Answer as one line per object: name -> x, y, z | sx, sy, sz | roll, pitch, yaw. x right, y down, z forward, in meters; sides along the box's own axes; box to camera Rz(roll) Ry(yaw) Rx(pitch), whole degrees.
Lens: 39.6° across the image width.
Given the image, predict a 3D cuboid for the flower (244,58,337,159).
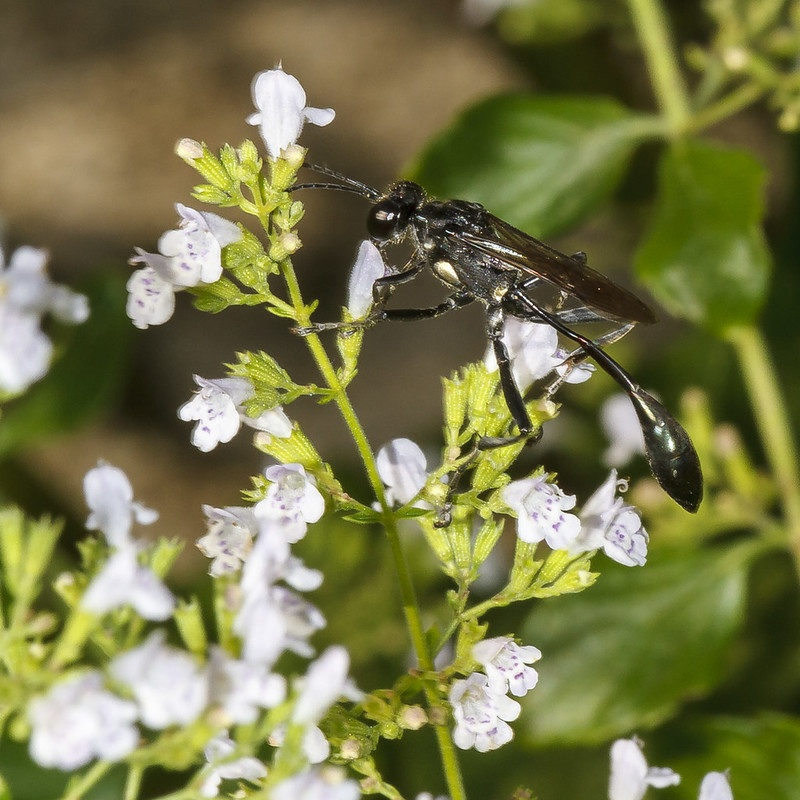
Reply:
flower -> -0.090, -0.231, 0.878 | 0.080, 0.073, 0.072 | -5, -71, -6
